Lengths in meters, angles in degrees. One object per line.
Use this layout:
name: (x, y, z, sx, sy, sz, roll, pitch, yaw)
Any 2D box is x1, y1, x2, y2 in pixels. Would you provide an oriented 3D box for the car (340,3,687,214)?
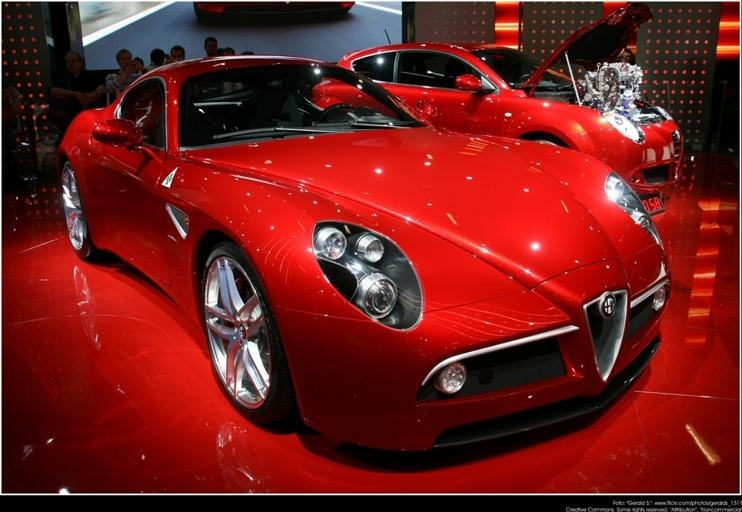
car: (1.259, -1.782, 5.329, 4.051, 1.893, 1.980, 13, 31, 27)

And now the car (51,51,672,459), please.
car: (-0.534, -0.181, 2.753, 1.940, 1.111, 3.560, -16, 29, -36)
